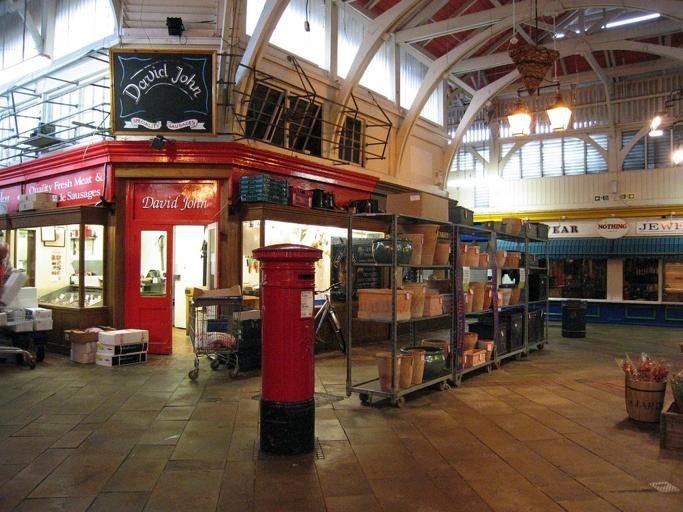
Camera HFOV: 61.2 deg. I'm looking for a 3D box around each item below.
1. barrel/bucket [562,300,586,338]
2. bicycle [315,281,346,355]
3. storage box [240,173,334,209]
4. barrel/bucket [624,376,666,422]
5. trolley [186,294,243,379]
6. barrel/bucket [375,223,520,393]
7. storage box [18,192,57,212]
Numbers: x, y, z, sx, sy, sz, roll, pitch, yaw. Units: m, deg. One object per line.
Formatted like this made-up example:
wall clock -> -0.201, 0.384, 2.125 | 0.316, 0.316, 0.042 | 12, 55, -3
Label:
barrel/bucket -> 6.440, 1.753, 16.070 | 0.607, 1.023, 0.518 | 3, 4, 25
bicycle -> -0.291, 1.380, 13.181 | 0.846, 0.942, 1.550 | -3, -8, -27
storage box -> -1.093, -1.415, 13.071 | 0.815, 0.656, 2.656 | 4, 4, 38
barrel/bucket -> 4.315, 2.083, 8.436 | 0.491, 0.587, 0.616 | 3, -1, 18
trolley -> -2.365, 1.447, 10.901 | 0.958, 1.527, 1.424 | 0, 3, -14
barrel/bucket -> 2.008, 0.993, 10.738 | 1.247, 3.134, 2.441 | -1, -2, 37
storage box -> -6.978, -1.241, 13.476 | 1.162, 0.436, 0.489 | 3, 4, 37
